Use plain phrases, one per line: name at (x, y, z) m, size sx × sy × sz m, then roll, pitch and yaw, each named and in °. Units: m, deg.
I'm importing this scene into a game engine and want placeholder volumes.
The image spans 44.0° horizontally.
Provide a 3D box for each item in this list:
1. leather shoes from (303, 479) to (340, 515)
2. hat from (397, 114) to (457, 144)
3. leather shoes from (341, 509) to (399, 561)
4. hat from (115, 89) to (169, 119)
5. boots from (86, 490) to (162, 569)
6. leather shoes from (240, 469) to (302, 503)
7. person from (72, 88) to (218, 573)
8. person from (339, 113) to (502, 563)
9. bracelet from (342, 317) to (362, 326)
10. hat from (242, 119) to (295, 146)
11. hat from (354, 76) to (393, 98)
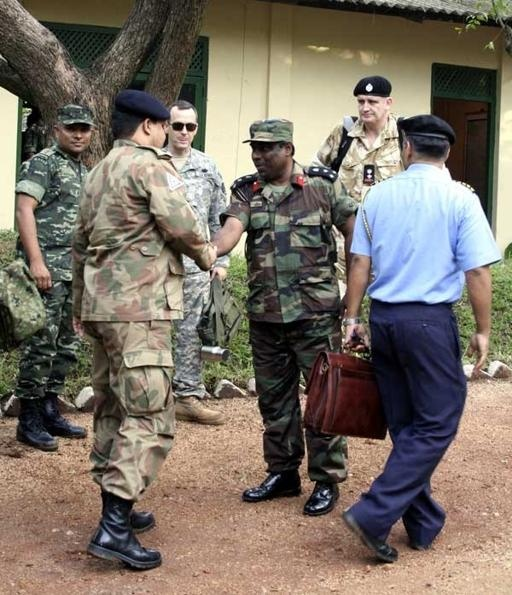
leather shoes at (0.335, 1.009, 3.228) m, size 0.105 × 0.087 × 0.226 m, roll 4°, pitch 6°, yaw 29°
hat at (0.684, -0.697, 2.647) m, size 0.160 × 0.050 × 0.161 m, roll 3°, pitch 9°, yaw -18°
leather shoes at (0.465, 0.965, 2.568) m, size 0.305 × 0.152 × 0.097 m, roll 42°, pitch 13°, yaw -28°
hat at (-0.489, -0.799, 2.607) m, size 0.164 × 0.058 × 0.164 m, roll 3°, pitch 18°, yaw -38°
boots at (-0.512, 0.894, 2.564) m, size 0.270 × 0.351 × 0.491 m, roll 2°, pitch 4°, yaw -8°
leather shoes at (0.120, 1.001, 3.424) m, size 0.392 × 0.147 × 0.127 m, roll 0°, pitch 4°, yaw -26°
person at (-0.456, 0.102, 2.529) m, size 0.503 × 1.882 × 0.544 m, roll 2°, pitch 5°, yaw -14°
person at (0.668, 0.173, 2.582) m, size 0.535 × 1.834 × 0.425 m, roll 4°, pitch 5°, yaw 6°
bracelet at (0.426, 0.111, 2.872) m, size 0.055 × 0.030 × 0.053 m, roll -2°, pitch -7°, yaw 18°
hat at (0.102, -0.819, 3.116) m, size 0.150 × 0.060 × 0.198 m, roll 4°, pitch 7°, yaw 34°
hat at (0.781, -1.417, 4.226) m, size 0.228 × 0.155 × 0.175 m, roll 3°, pitch 4°, yaw 7°
